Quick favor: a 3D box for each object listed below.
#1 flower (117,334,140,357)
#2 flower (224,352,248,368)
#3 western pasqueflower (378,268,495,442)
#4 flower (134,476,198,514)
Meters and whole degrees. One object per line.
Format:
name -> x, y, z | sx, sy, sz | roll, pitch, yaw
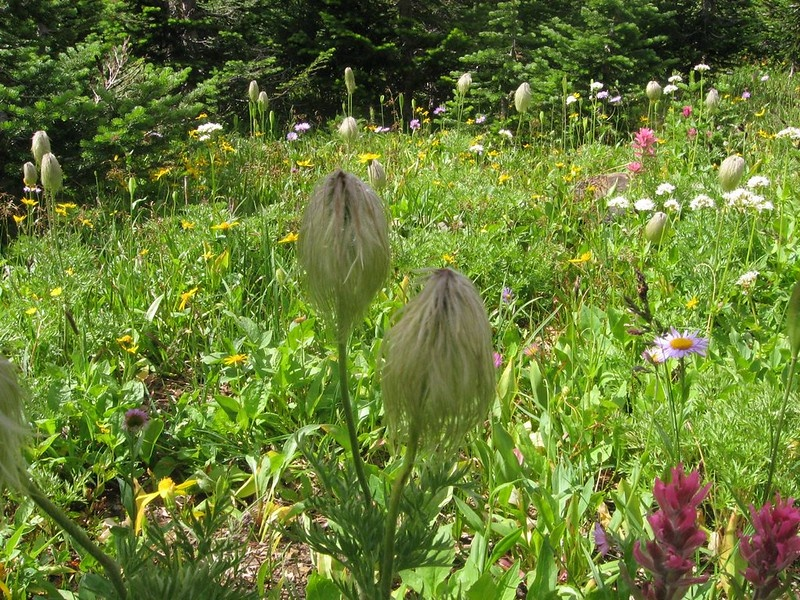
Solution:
flower -> -1.363, 0.229, 3.636 | 0.065, 0.081, 0.087 | -8, 58, 18
flower -> -0.765, 0.306, 3.410 | 0.084, 0.047, 0.088 | -19, 35, -28
western pasqueflower -> 0.115, 0.121, 2.121 | 0.366, 0.630, 0.392 | 1, 23, -4
flower -> -0.954, 0.780, 2.954 | 0.188, 0.095, 0.207 | -14, -5, 2
